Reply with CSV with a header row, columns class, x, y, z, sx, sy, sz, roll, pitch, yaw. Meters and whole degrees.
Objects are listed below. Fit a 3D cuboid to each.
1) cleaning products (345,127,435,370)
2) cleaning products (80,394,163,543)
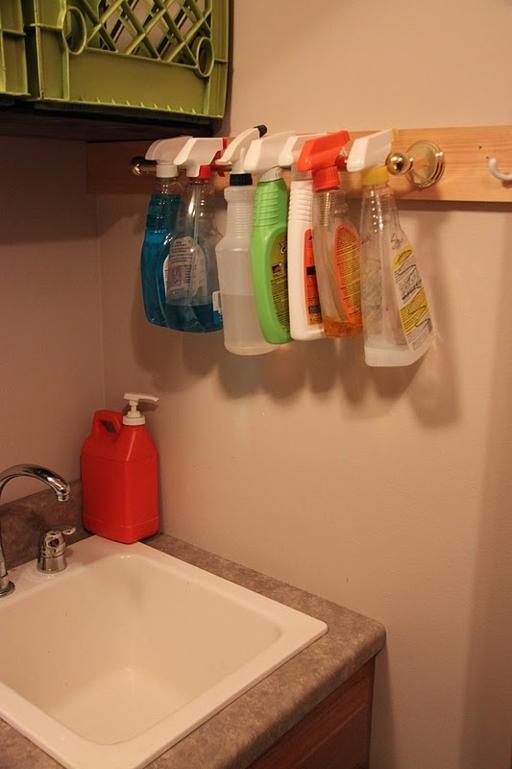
class,x,y,z,sx,sy,sz,roll,pitch,yaw
cleaning products,0.174,-0.160,0.807,0.111,0.307,0.159,0,11,9
cleaning products,-0.266,0.166,1.265,0.201,0.309,0.083,6,13,33
